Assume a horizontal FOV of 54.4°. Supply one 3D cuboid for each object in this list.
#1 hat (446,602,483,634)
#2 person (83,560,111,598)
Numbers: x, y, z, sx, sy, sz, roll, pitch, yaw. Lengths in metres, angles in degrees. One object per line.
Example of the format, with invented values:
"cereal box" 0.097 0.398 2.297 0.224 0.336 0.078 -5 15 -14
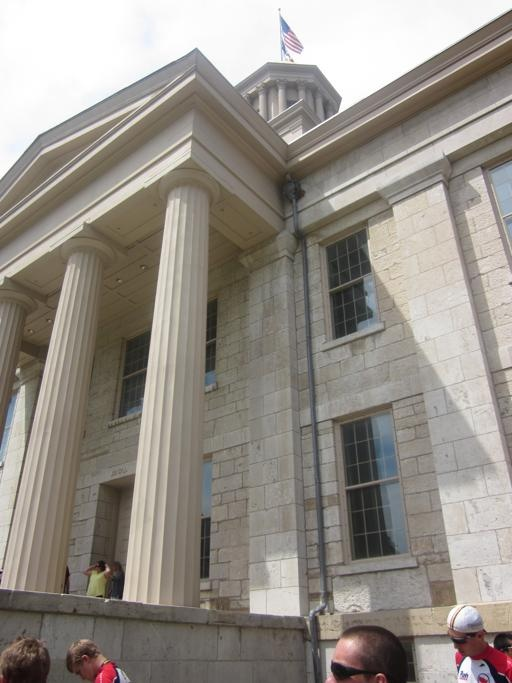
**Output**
"hat" 1.318 1.796 3.154 0.199 0.159 0.192 -11 -29 15
"person" -4.303 6.517 13.513 0.627 1.046 2.842 6 -29 -15
